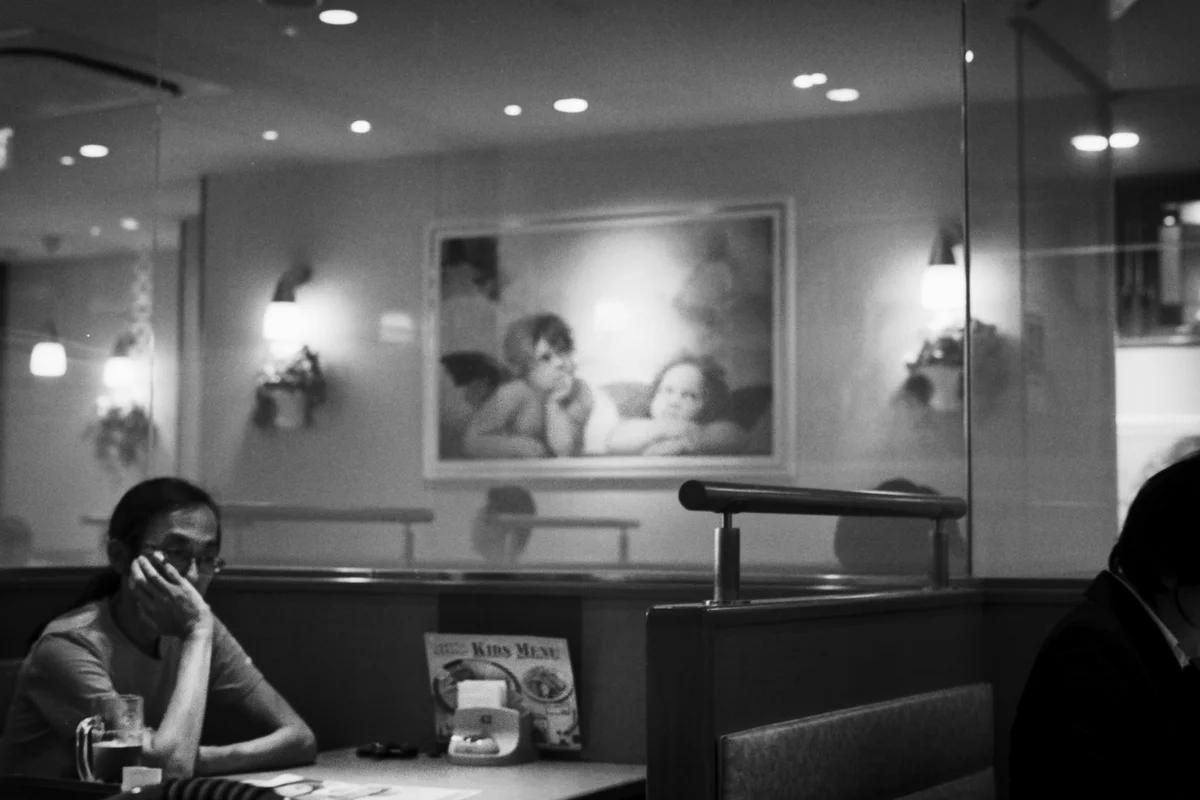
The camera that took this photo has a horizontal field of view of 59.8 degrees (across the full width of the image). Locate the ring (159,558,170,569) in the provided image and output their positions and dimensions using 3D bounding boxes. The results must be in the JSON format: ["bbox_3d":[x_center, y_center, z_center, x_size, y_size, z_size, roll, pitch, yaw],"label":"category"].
[{"bbox_3d":[-1.135,0.426,2.723,0.031,0.030,0.017,4,-21,-44],"label":"ring"}]

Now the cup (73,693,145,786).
[{"bbox_3d":[-1.050,0.726,2.240,0.122,0.167,0.220,-1,-1,-27],"label":"cup"}]
